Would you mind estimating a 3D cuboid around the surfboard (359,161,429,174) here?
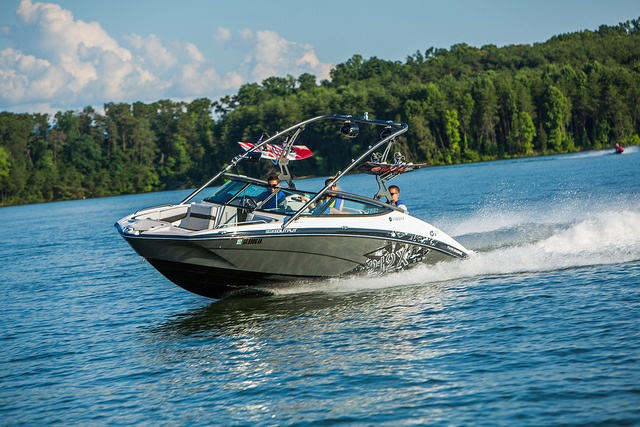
[{"bbox_3d":[1.768,-1.255,22.131,1.444,0.120,0.585,4,-11,-20],"label":"surfboard"}]
